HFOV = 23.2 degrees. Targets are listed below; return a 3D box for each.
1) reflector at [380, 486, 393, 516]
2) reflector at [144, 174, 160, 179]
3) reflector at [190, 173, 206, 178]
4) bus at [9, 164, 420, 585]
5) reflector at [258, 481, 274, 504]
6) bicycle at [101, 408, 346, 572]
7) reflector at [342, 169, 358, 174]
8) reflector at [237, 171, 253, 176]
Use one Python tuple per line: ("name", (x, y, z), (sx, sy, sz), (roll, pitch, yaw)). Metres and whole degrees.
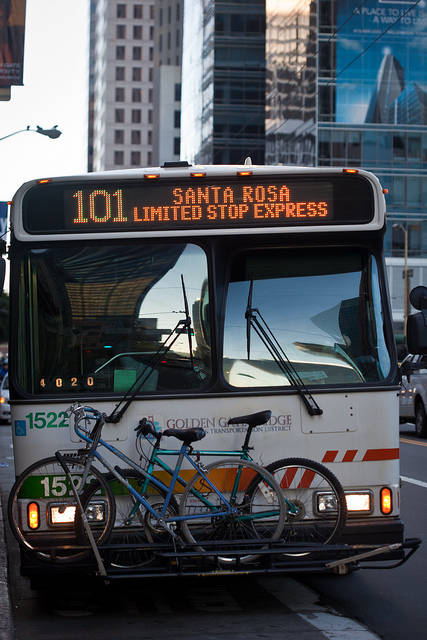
("reflector", (1.053, 1.121, 6.376), (0.081, 0.178, 0.037), (-1, 0, 2))
("reflector", (-0.385, -0.891, 6.495), (0.092, 0.027, 0.039), (-1, -1, 3))
("reflector", (-0.102, -0.905, 6.545), (0.095, 0.027, 0.030), (-1, -1, 3))
("bus", (-0.094, 0.388, 7.550), (1.793, 1.942, 3.041), (0, -3, -4))
("reflector", (0.305, 1.029, 6.143), (0.045, 0.181, 0.047), (-19, 0, 7))
("bicycle", (0.033, 1.052, 6.274), (1.468, 0.945, 0.780), (-5, -24, 6))
("reflector", (0.855, -0.926, 6.517), (0.107, 0.026, 0.059), (-1, -1, -11))
("reflector", (0.195, -0.916, 6.529), (0.094, 0.027, 0.033), (-1, -1, 2))
